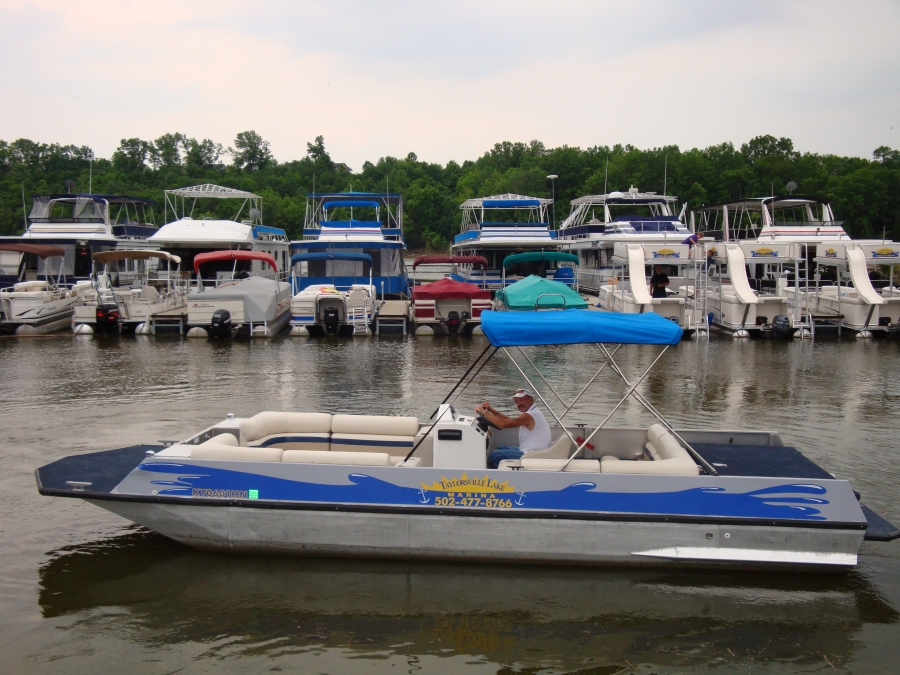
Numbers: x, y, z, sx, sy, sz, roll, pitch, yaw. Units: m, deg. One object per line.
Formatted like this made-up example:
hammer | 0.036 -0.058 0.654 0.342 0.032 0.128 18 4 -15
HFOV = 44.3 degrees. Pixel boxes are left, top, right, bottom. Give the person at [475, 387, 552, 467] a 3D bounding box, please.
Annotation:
person | 0.775 1.288 13.726 1.001 1.192 0.664 5 -5 -2
